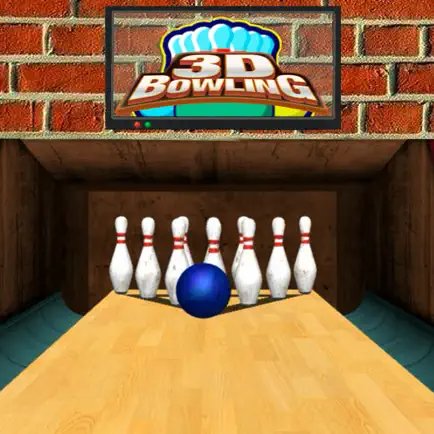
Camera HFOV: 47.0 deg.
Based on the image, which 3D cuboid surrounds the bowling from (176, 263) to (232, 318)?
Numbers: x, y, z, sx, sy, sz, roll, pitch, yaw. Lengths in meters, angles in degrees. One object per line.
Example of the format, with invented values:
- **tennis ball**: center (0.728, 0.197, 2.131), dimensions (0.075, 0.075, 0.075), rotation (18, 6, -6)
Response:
- **bowling**: center (-0.029, 0.200, 1.526), dimensions (0.128, 0.202, 0.144), rotation (12, 25, 7)
